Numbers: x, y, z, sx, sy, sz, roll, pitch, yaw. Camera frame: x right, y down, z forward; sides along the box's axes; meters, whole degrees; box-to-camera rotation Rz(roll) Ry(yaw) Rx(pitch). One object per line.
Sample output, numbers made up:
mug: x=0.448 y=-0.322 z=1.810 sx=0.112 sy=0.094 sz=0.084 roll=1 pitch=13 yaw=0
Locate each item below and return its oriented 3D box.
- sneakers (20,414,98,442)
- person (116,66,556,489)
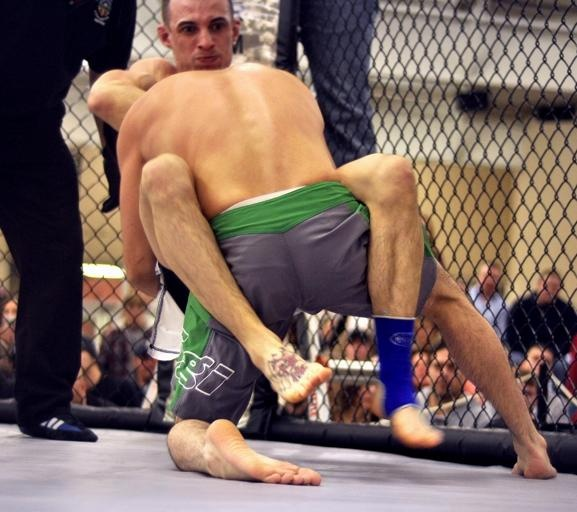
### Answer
sneakers: x=-0.661 y=0.487 z=2.584 sx=0.212 sy=0.093 sz=0.084 roll=-3 pitch=-8 yaw=17
person: x=0.020 y=0.035 z=2.037 sx=0.986 sy=0.843 sz=0.653 roll=13 pitch=20 yaw=26
